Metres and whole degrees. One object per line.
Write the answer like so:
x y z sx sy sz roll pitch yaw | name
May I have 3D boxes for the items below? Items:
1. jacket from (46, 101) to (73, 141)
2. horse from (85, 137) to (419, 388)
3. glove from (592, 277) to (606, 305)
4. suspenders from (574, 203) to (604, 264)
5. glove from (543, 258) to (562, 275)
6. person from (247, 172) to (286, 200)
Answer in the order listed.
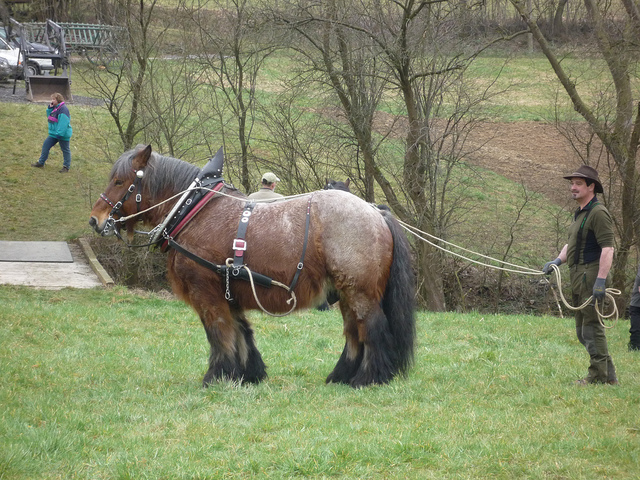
-8.443 -3.882 33.932 0.902 1.144 1.275 1 12 -39 | jacket
-1.566 0.702 24.037 6.690 4.747 2.335 0 3 5 | horse
5.719 1.029 21.180 0.146 0.397 0.311 -1 5 30 | glove
5.542 -0.120 21.615 0.391 1.282 0.083 2 4 6 | suspenders
4.911 0.568 21.854 0.369 0.345 0.777 3 4 13 | glove
-1.473 -1.481 28.753 0.597 0.849 1.803 7 25 12 | person
